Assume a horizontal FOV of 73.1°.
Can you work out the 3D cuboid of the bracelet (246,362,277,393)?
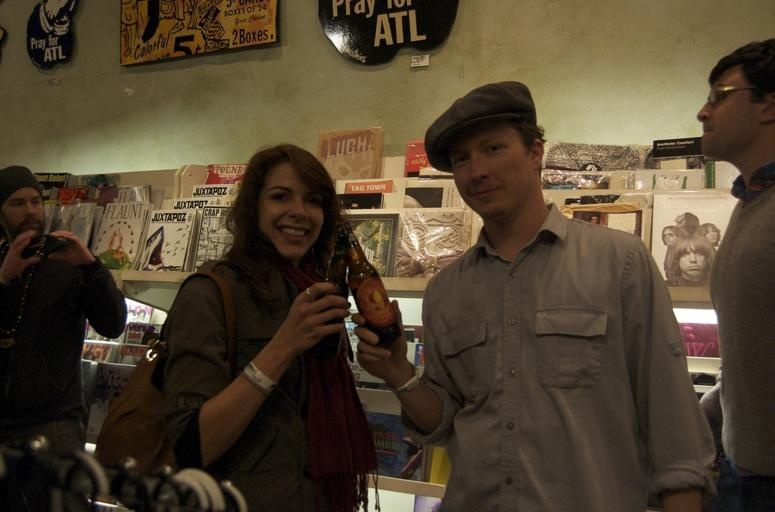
[{"bbox_3d":[-0.392,0.395,1.718,0.092,0.047,0.091,26,-13,38],"label":"bracelet"}]

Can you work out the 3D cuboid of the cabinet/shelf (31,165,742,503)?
[{"bbox_3d":[0.053,0.278,1.895,1.992,0.937,0.505,2,-1,1],"label":"cabinet/shelf"}]

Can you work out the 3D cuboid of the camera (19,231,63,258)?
[{"bbox_3d":[-2.003,-0.056,3.053,0.179,0.086,0.238,-29,11,-39],"label":"camera"}]

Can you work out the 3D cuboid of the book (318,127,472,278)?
[{"bbox_3d":[0.052,-0.255,2.707,0.970,0.857,0.301,3,-35,15],"label":"book"}]

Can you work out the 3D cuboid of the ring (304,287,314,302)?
[{"bbox_3d":[-0.256,0.128,1.736,0.030,0.029,0.030,2,-1,0],"label":"ring"}]
